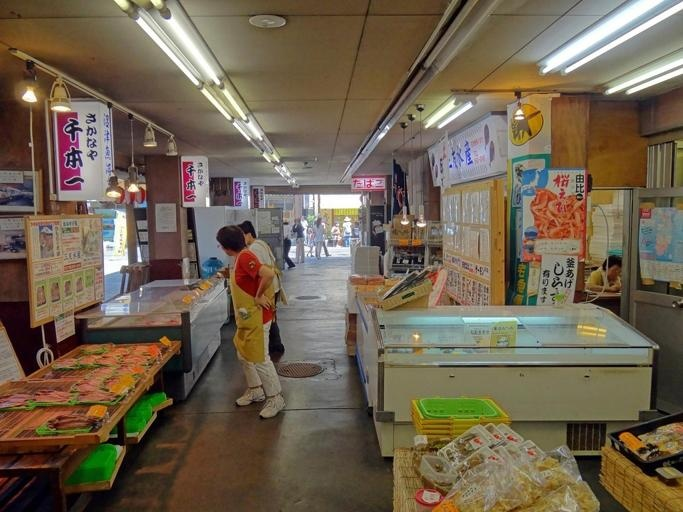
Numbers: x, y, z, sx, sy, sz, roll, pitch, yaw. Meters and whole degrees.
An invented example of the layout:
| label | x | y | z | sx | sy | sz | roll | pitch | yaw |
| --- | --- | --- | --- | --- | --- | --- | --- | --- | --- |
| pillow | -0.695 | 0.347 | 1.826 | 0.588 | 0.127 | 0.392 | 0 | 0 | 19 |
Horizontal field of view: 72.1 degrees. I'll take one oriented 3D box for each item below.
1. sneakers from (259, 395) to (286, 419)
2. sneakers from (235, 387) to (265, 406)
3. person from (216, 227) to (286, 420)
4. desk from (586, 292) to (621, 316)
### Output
| label | x | y | z | sx | sy | sz | roll | pitch | yaw |
| --- | --- | --- | --- | --- | --- | --- | --- | --- | --- |
| sneakers | -0.795 | 1.713 | 5.322 | 0.133 | 0.158 | 0.397 | -4 | -9 | 21 |
| sneakers | -1.074 | 1.674 | 5.637 | 0.455 | 0.282 | 0.163 | 1 | 2 | -15 |
| person | -0.980 | 0.729 | 5.371 | 0.576 | 2.131 | 0.707 | -6 | 10 | -30 |
| desk | 3.309 | 0.587 | 5.953 | 0.384 | 0.253 | 0.236 | 0 | 0 | 3 |
